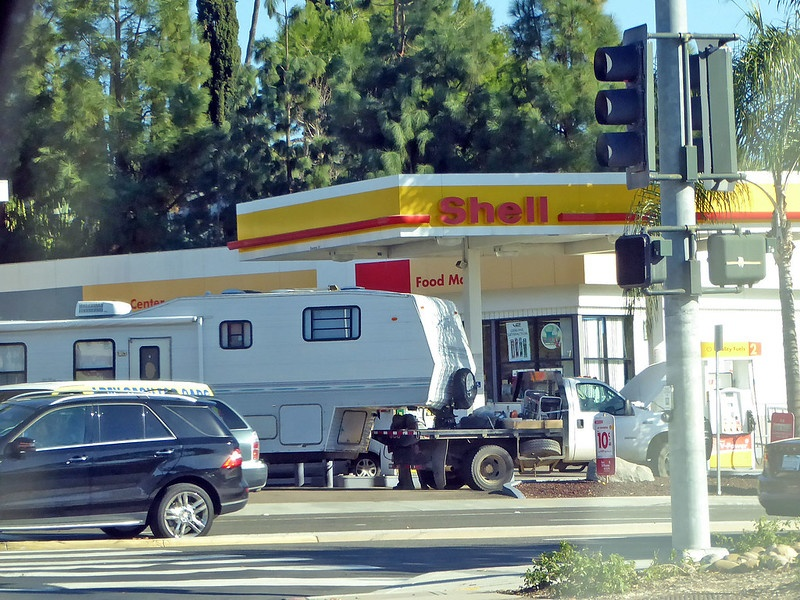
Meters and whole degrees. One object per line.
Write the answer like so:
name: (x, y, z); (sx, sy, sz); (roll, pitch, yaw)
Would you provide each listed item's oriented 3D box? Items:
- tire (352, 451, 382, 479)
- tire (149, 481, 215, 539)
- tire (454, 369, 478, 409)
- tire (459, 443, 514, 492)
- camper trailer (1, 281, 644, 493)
tire: (-0.814, 3.995, 38.992); (0.536, 0.592, 0.188); (4, -19, 3)
tire: (-4.197, 3.957, 30.479); (0.823, 0.888, 0.298); (19, -14, -27)
tire: (1.554, 2.116, 38.808); (0.365, 1.068, 1.028); (-3, 3, 22)
tire: (2.104, 3.929, 37.674); (1.030, 1.134, 0.435); (7, -4, -12)
camper trailer: (-2.911, 1.409, 40.915); (18.018, 6.015, 5.625); (1, -3, 6)
